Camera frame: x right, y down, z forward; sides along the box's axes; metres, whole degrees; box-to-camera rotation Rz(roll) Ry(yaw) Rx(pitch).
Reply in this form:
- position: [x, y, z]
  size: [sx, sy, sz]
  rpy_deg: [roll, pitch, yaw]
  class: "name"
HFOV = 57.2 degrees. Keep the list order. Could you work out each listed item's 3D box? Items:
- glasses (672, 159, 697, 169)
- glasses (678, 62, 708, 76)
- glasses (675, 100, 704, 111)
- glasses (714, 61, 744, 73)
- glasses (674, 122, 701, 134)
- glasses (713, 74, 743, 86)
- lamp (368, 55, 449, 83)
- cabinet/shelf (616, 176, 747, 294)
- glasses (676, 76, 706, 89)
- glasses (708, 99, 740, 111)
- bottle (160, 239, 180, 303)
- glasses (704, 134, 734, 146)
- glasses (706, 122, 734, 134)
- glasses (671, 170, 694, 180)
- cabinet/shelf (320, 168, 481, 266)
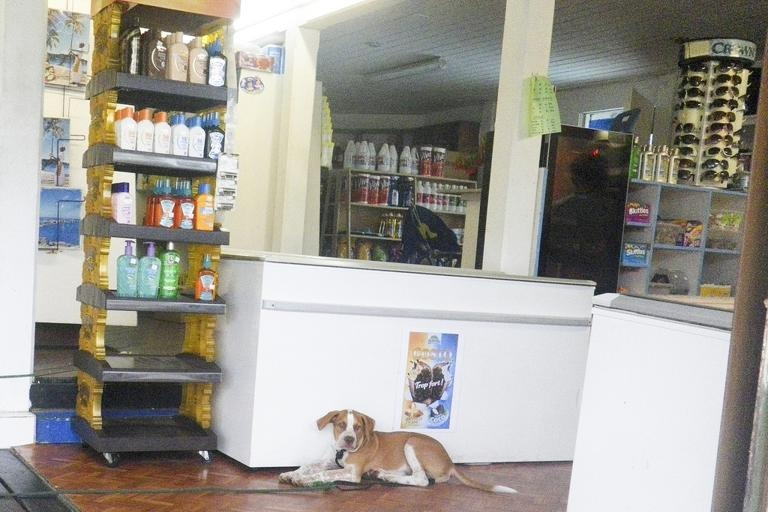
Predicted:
- position: [3.042, -0.924, 7.088]
  size: [0.131, 0.049, 0.138]
  rpy_deg: [5, -4, -43]
  class: "glasses"
- position: [3.064, -1.845, 6.983]
  size: [0.084, 0.122, 0.277]
  rpy_deg: [0, 5, -44]
  class: "glasses"
- position: [3.042, -1.494, 7.027]
  size: [0.253, 0.085, 0.071]
  rpy_deg: [7, 5, 43]
  class: "glasses"
- position: [3.368, -1.836, 6.833]
  size: [0.163, 0.151, 0.051]
  rpy_deg: [0, 5, 5]
  class: "glasses"
- position: [3.048, -1.270, 7.066]
  size: [0.238, 0.103, 0.063]
  rpy_deg: [5, 4, 29]
  class: "glasses"
- position: [3.368, -1.716, 6.894]
  size: [0.142, 0.048, 0.154]
  rpy_deg: [1, -2, 5]
  class: "glasses"
- position: [0.376, -2.941, 11.133]
  size: [0.445, 0.135, 1.980]
  rpy_deg: [1, 4, -37]
  class: "lamp"
- position: [2.867, -0.240, 6.924]
  size: [1.277, 1.042, 0.353]
  rpy_deg: [5, -2, -13]
  class: "cabinet/shelf"
- position: [3.058, -1.722, 6.981]
  size: [0.152, 0.044, 0.144]
  rpy_deg: [6, 0, -36]
  class: "glasses"
- position: [3.361, -1.478, 6.938]
  size: [0.207, 0.043, 0.136]
  rpy_deg: [0, 4, -9]
  class: "glasses"
- position: [-1.497, 0.090, 4.927]
  size: [0.129, 0.382, 0.255]
  rpy_deg: [2, 4, -18]
  class: "bottle"
- position: [3.320, -1.140, 6.975]
  size: [0.273, 0.118, 0.085]
  rpy_deg: [3, 4, 0]
  class: "glasses"
- position: [3.311, -1.251, 6.940]
  size: [0.154, 0.065, 0.119]
  rpy_deg: [-3, -29, 34]
  class: "glasses"
- position: [3.030, -0.803, 7.089]
  size: [0.206, 0.135, 0.108]
  rpy_deg: [-1, -4, 13]
  class: "glasses"
- position: [0.096, -0.535, 9.733]
  size: [1.574, 1.304, 0.470]
  rpy_deg: [5, -6, -8]
  class: "cabinet/shelf"
